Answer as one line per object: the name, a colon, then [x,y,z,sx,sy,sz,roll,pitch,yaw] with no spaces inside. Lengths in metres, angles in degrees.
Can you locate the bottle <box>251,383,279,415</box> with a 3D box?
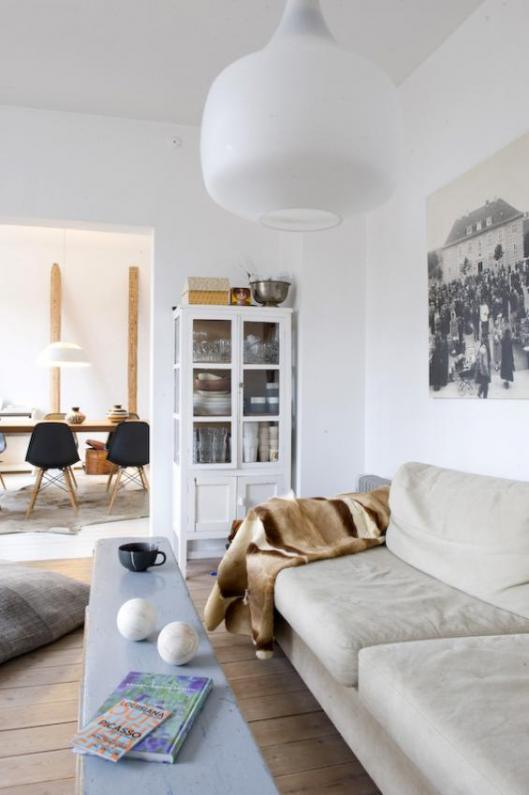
bottle: [0.008,0.014,3.763,0.205,0.210,0.127,3,-2,-8]

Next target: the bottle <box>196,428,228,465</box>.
bottle: [-0.292,0.271,3.619,0.197,0.195,0.056,1,2,-30]

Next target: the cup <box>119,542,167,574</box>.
cup: [-0.410,0.540,2.144,0.119,0.062,0.097,6,-9,-32]

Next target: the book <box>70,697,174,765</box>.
book: [-0.258,0.609,1.149,0.111,0.029,0.165,3,2,22]

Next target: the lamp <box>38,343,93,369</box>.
lamp: [-1.915,-0.410,5.964,0.421,0.208,0.447,1,2,-32]

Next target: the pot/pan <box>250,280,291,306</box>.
pot/pan: [0.037,-0.635,3.856,0.170,0.117,0.177,-1,11,-4]
